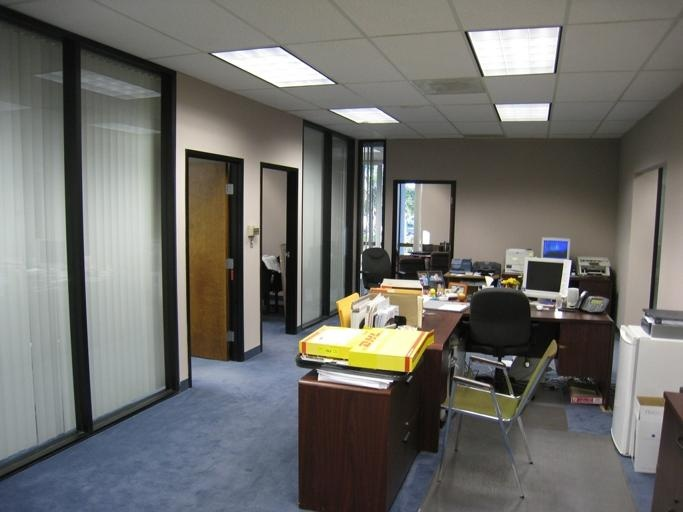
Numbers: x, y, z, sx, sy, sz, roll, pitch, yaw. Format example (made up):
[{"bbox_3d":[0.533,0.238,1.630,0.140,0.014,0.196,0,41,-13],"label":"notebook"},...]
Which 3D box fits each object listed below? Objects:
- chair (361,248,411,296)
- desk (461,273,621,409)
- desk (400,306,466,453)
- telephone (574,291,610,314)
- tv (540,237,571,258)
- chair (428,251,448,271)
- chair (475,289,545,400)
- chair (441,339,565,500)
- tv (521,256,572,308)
[{"bbox_3d":[0.596,0.323,7.709,0.574,0.881,0.579,-1,7,7],"label":"chair"},{"bbox_3d":[2.256,0.857,5.206,1.511,1.058,0.913,0,-1,26],"label":"desk"},{"bbox_3d":[0.812,0.982,4.332,0.695,0.950,1.429,1,6,16],"label":"desk"},{"bbox_3d":[2.528,0.488,5.148,0.084,0.278,0.272,31,-17,-37],"label":"telephone"},{"bbox_3d":[3.273,-0.145,7.803,0.369,0.286,0.390,5,12,20],"label":"tv"},{"bbox_3d":[1.818,0.084,9.315,0.329,0.502,0.351,0,-1,25],"label":"chair"},{"bbox_3d":[1.566,0.771,5.156,0.765,1.311,0.788,0,13,10],"label":"chair"},{"bbox_3d":[1.192,1.159,3.945,0.761,1.105,0.712,6,5,18],"label":"chair"},{"bbox_3d":[2.202,0.288,5.464,0.452,0.504,0.219,3,3,36],"label":"tv"}]
